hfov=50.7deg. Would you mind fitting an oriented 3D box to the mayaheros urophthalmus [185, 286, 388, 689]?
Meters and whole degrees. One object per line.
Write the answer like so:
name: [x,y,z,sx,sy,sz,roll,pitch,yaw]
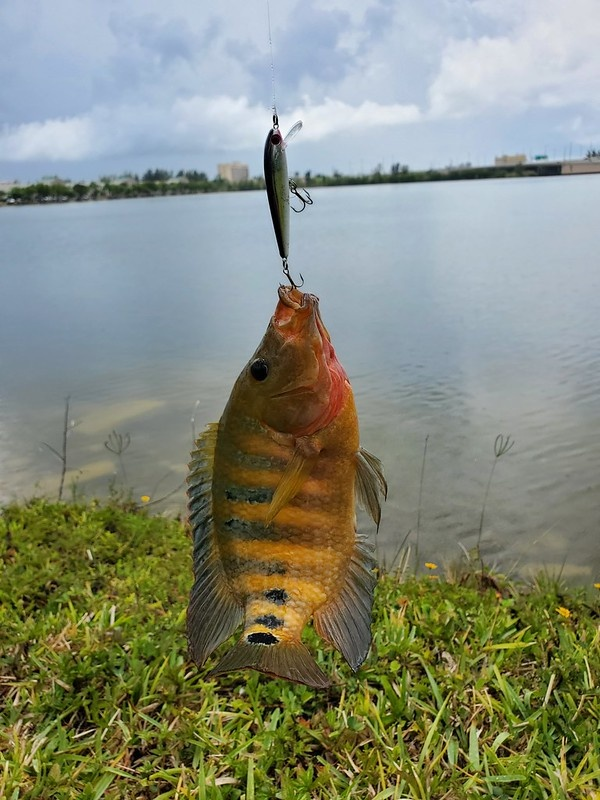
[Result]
mayaheros urophthalmus: [-0.026,0.360,2.547,0.840,1.497,0.688,12,11,7]
